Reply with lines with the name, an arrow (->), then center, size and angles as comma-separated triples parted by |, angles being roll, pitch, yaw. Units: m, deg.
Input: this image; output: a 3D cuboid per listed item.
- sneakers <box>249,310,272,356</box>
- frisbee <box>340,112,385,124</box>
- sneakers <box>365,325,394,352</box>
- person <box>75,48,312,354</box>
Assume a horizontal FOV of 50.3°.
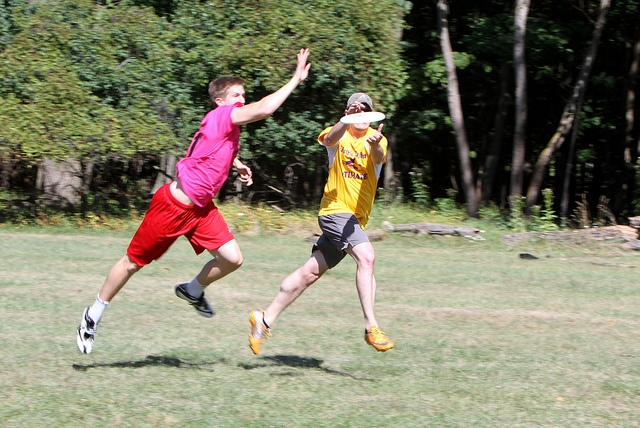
sneakers -> -0.616, 1.205, 6.850 | 0.393, 0.392, 0.205 | 1, 6, 5
frisbee -> 0.416, -0.978, 6.878 | 0.422, 0.126, 0.295 | 2, 1, -3
sneakers -> 0.584, 1.234, 6.735 | 0.449, 0.148, 0.164 | 14, 35, 41
person -> -1.192, -0.119, 6.752 | 1.831, 2.835, 0.587 | 6, 0, 10
